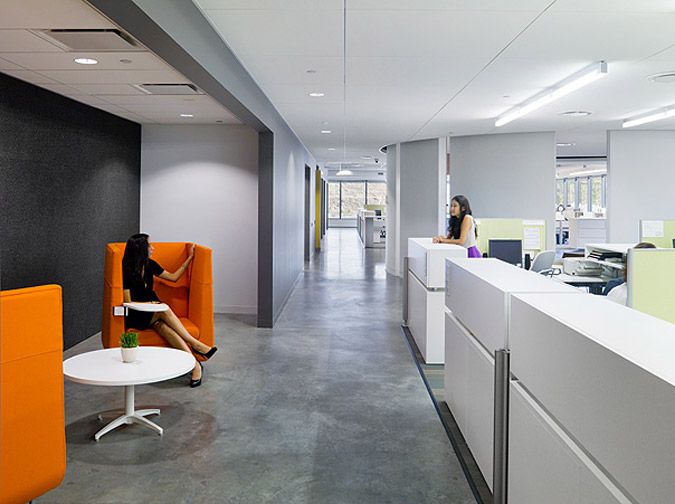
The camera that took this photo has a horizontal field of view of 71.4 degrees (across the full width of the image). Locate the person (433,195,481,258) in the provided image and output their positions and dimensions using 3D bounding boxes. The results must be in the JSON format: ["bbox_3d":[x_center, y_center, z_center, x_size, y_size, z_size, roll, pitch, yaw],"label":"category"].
[{"bbox_3d":[1.602,-0.372,6.355,0.501,0.758,0.826,-2,8,13],"label":"person"}]

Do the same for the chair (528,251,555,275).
[{"bbox_3d":[3.102,0.165,7.148,0.316,0.470,0.320,-2,11,-19],"label":"chair"}]

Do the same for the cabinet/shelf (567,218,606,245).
[{"bbox_3d":[8.377,-0.724,15.765,1.120,1.077,0.864,-1,-1,2],"label":"cabinet/shelf"}]

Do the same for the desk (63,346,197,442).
[{"bbox_3d":[-1.744,1.161,4.052,1.039,0.750,0.985,-6,8,-14],"label":"desk"}]

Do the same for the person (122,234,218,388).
[{"bbox_3d":[-1.764,0.579,5.290,1.098,1.506,0.824,8,13,12],"label":"person"}]

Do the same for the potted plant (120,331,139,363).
[{"bbox_3d":[-1.783,0.795,3.998,0.215,0.253,0.107,0,9,27],"label":"potted plant"}]

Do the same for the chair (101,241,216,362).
[{"bbox_3d":[-2.143,0.580,5.572,1.195,1.303,0.936,1,2,-32],"label":"chair"}]

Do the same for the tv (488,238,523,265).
[{"bbox_3d":[2.847,-0.026,7.953,0.612,0.424,0.377,-3,8,9],"label":"tv"}]
